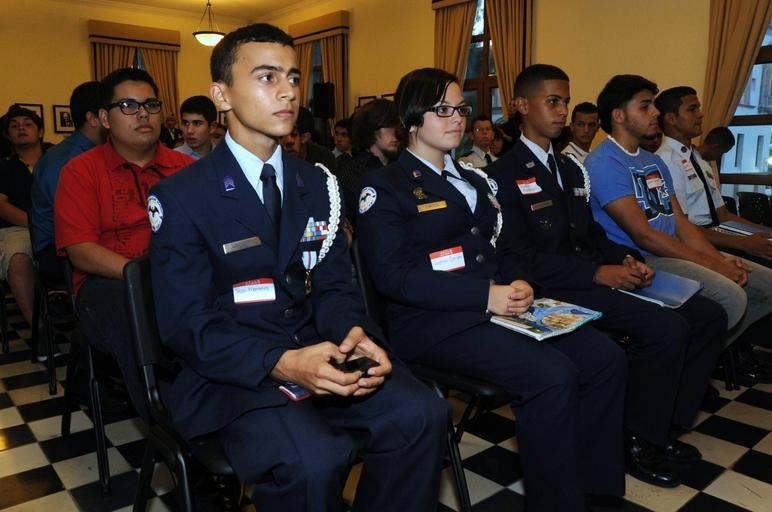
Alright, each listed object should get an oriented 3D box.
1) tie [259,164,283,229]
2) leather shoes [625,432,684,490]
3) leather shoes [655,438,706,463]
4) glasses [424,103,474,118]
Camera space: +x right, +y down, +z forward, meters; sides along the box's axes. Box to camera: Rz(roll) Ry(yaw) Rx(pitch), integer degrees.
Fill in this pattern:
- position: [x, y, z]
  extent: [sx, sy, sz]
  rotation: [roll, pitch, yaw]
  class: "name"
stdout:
- position: [-0.451, -0.239, 2.103]
  extent: [0.062, 0.294, 0.074]
  rotation: [-8, -19, -7]
  class: "tie"
- position: [1.295, 1.008, 2.704]
  extent: [0.133, 0.146, 0.364]
  rotation: [-6, 5, -24]
  class: "leather shoes"
- position: [1.522, 1.010, 2.770]
  extent: [0.202, 0.128, 0.089]
  rotation: [-9, 13, 33]
  class: "leather shoes"
- position: [0.296, -0.676, 2.500]
  extent: [0.112, 0.033, 0.110]
  rotation: [-3, 2, -33]
  class: "glasses"
